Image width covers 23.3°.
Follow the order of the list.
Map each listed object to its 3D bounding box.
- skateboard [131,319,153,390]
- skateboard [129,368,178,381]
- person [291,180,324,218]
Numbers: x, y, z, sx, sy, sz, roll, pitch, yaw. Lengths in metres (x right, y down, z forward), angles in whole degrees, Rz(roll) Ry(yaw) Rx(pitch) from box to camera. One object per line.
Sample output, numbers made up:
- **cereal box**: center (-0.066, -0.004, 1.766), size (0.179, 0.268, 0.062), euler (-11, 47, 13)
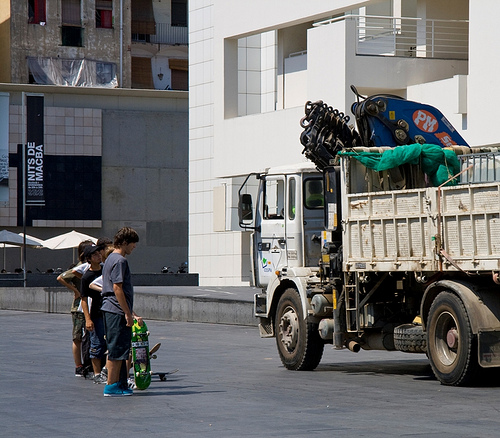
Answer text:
- **skateboard**: center (-1.551, 1.922, 17.258), size (0.231, 1.095, 0.147), euler (-4, 6, -18)
- **skateboard**: center (-1.593, 2.365, 18.599), size (1.043, 0.204, 0.292), euler (-2, -7, 7)
- **person**: center (0.973, -0.418, 20.285), size (0.341, 0.753, 0.393), euler (-4, -1, -16)
